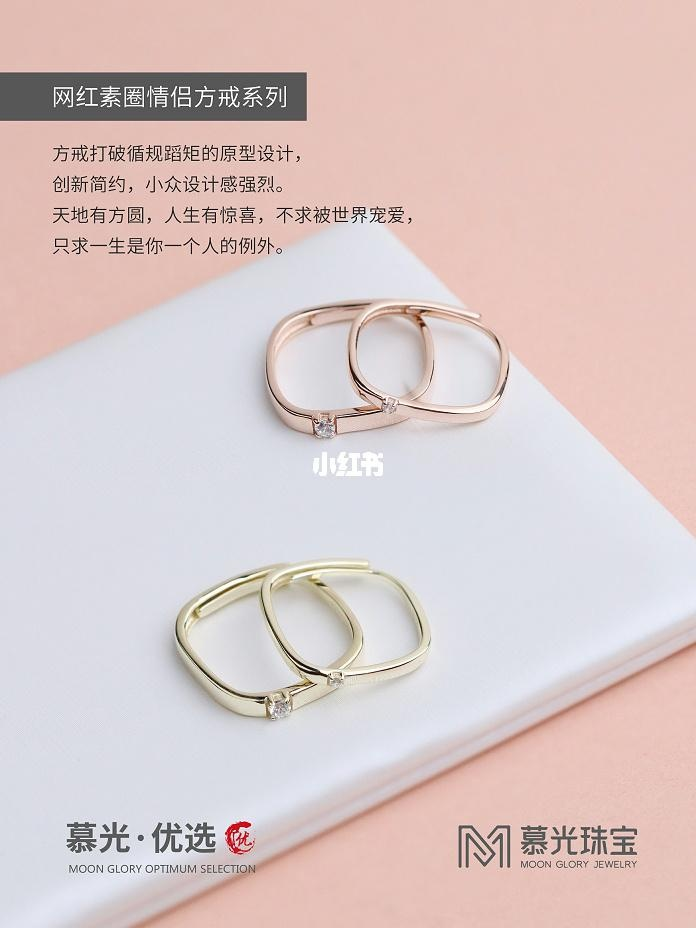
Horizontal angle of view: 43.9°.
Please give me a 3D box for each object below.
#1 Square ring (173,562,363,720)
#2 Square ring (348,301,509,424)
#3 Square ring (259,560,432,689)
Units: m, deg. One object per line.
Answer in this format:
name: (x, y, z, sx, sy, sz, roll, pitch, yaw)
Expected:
Square ring: (-0.068, 0.157, 0.787, 0.180, 0.145, 0.091, -5, -20, 0)
Square ring: (0.088, -0.116, 0.997, 0.193, 0.141, 0.043, 6, -33, 3)
Square ring: (-0.002, 0.141, 0.808, 0.163, 0.175, 0.032, 12, -54, 3)
